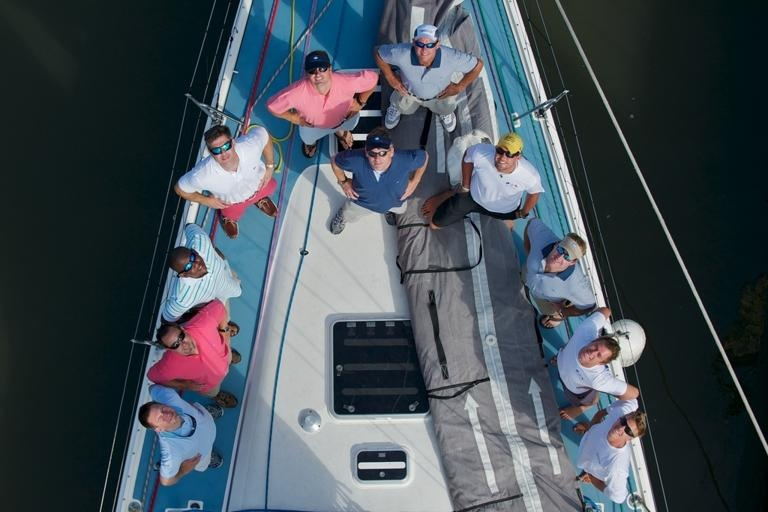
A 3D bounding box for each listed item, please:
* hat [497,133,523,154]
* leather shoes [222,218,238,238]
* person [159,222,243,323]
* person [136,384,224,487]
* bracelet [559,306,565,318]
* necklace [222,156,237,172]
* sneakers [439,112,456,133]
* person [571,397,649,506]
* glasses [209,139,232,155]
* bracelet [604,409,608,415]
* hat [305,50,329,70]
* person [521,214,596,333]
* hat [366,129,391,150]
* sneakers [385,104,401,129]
[{"bbox_3d":[2.121,-1.857,13.075,0.376,0.344,0.664,15,7,15],"label":"hat"},{"bbox_3d":[-2.712,-0.504,13.875,0.169,0.425,0.154,-25,19,-8],"label":"leather shoes"},{"bbox_3d":[-3.108,0.428,13.632,0.916,1.645,2.364,7,-13,10],"label":"person"},{"bbox_3d":[-3.425,3.064,13.027,0.580,1.227,1.479,-14,-5,26],"label":"person"},{"bbox_3d":[3.127,0.997,13.780,0.045,0.152,0.102,4,-8,3],"label":"bracelet"},{"bbox_3d":[-2.538,-1.527,12.991,0.261,0.284,0.139,-15,19,-12],"label":"necklace"},{"bbox_3d":[1.182,-2.454,14.233,0.157,0.511,0.184,-33,-28,25],"label":"sneakers"},{"bbox_3d":[3.792,3.387,13.222,0.523,1.269,1.452,11,-12,8],"label":"person"},{"bbox_3d":[-2.650,-1.795,12.817,0.388,0.204,0.095,-15,19,-8],"label":"glasses"},{"bbox_3d":[3.768,2.654,13.294,0.042,0.070,0.061,2,0,-24],"label":"bracelet"},{"bbox_3d":[-1.124,-3.308,13.114,0.424,0.281,0.272,-14,20,-5],"label":"hat"},{"bbox_3d":[3.012,0.384,13.595,0.519,1.043,1.837,-35,-14,-3],"label":"person"},{"bbox_3d":[-0.101,-1.933,12.859,0.412,0.291,0.352,-11,20,1],"label":"hat"},{"bbox_3d":[0.151,-2.554,14.335,0.169,0.568,0.214,20,28,0],"label":"sneakers"}]
